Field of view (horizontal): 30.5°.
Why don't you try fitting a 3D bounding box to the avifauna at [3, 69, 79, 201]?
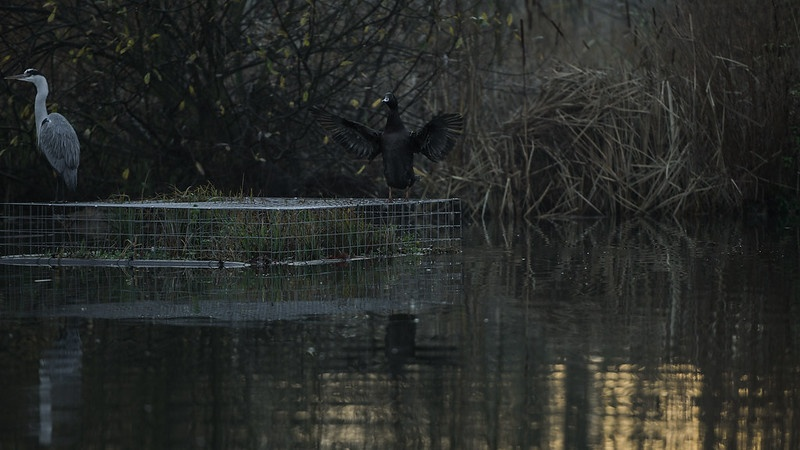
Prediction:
[{"bbox_3d":[-4.706,-1.291,19.942,0.714,1.638,0.489,2,6,30],"label":"avifauna"}]
